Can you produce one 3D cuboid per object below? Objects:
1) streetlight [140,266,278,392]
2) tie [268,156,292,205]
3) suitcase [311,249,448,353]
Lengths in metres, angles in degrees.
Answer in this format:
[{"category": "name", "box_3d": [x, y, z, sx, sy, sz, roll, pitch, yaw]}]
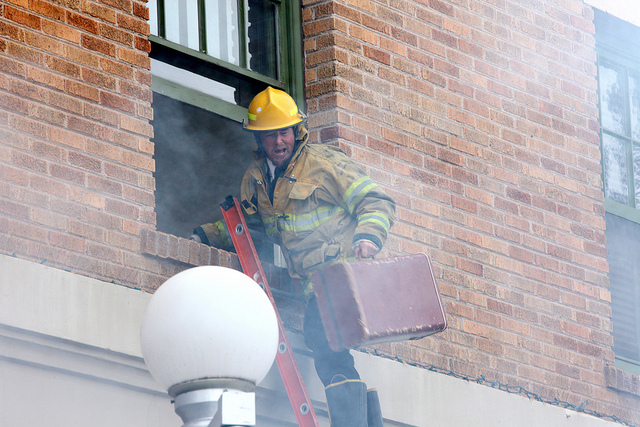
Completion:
[{"category": "streetlight", "box_3d": [-0.779, 0.791, 14.141, 0.905, 0.698, 0.798, -21, -44, -39]}, {"category": "tie", "box_3d": [-0.345, -0.272, 16.551, 0.244, 0.305, 0.085, 1, -16, 45]}, {"category": "suitcase", "box_3d": [0.504, 0.676, 16.204, 0.496, 0.603, 0.912, -22, -7, 40]}]
